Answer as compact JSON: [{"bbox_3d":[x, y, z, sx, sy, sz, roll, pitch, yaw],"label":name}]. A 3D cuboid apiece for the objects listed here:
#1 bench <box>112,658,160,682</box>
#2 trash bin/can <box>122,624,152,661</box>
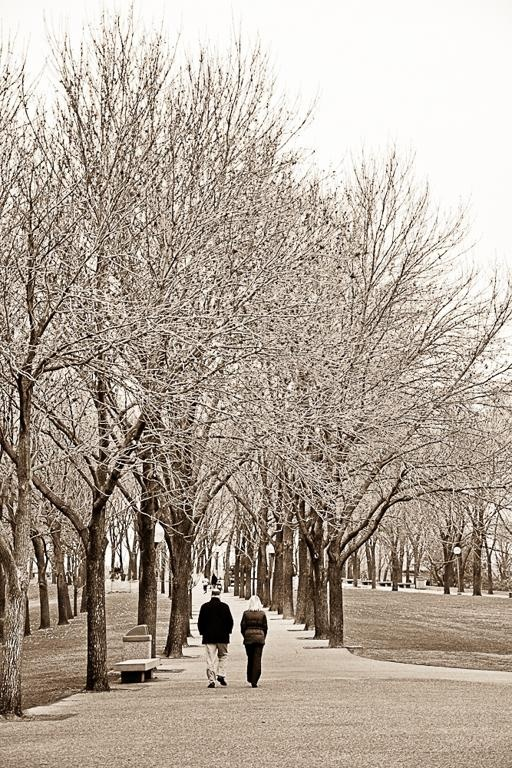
[{"bbox_3d":[-2.124,5.035,19.226,0.601,0.468,1.417,-1,-17,1],"label":"bench"},{"bbox_3d":[-2.198,4.808,20.286,0.441,0.992,0.568,0,-3,2],"label":"trash bin/can"}]
